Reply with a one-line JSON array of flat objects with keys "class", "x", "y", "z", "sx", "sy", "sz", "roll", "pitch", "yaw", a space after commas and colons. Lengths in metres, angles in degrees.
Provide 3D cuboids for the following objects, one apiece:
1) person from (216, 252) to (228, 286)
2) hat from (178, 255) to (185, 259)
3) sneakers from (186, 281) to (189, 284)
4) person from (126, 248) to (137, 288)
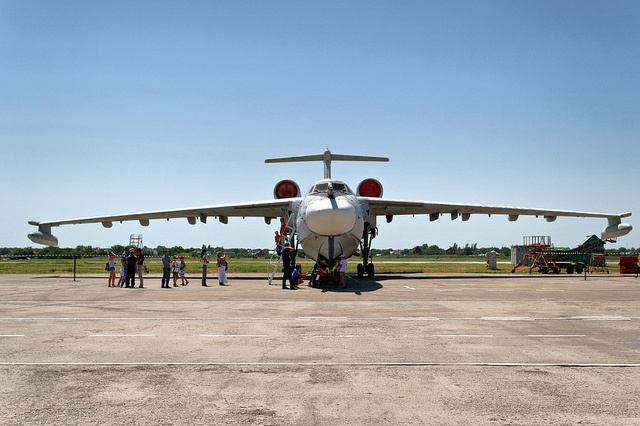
[{"class": "person", "x": -4.251, "y": 2.342, "z": 22.947, "sx": 0.300, "sy": 1.316, "sz": 0.955, "roll": 0, "pitch": 1, "yaw": -11}, {"class": "hat", "x": -6.269, "y": 2.037, "z": 23.832, "sx": 0.237, "sy": 0.297, "sz": 0.156, "roll": 1, "pitch": 9, "yaw": -3}, {"class": "sneakers", "x": -6.019, "y": 3.139, "z": 23.979, "sx": 0.150, "sy": 0.073, "sz": 0.195, "roll": -2, "pitch": -2, "yaw": 0}, {"class": "person", "x": -7.787, "y": 2.292, "z": 21.806, "sx": 0.463, "sy": 1.447, "sz": 1.625, "roll": 0, "pitch": 1, "yaw": -19}]
